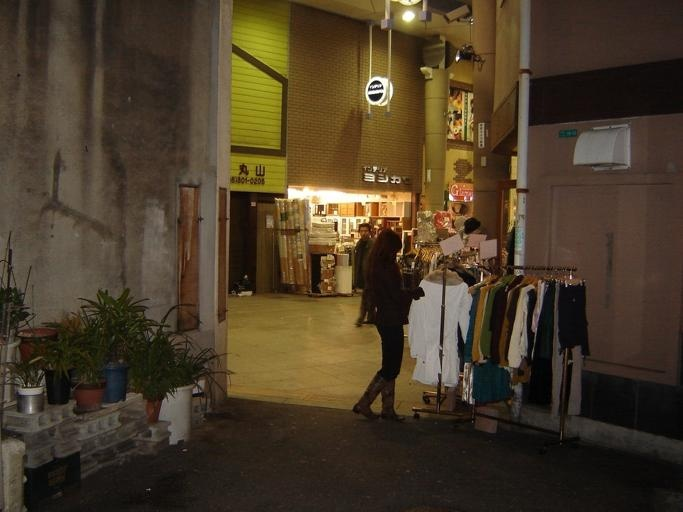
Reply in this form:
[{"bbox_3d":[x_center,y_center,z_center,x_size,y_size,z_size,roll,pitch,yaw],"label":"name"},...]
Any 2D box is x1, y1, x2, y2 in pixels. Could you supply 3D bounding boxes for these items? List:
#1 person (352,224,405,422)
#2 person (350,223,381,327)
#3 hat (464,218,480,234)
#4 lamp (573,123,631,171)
[{"bbox_3d":[0.560,0.740,6.722,0.834,1.999,0.621,3,-4,-27],"label":"person"},{"bbox_3d":[0.621,0.429,15.279,0.641,2.420,0.729,-2,3,11],"label":"person"},{"bbox_3d":[1.909,-0.439,8.951,0.229,0.248,0.403,-1,1,11],"label":"hat"},{"bbox_3d":[2.640,-1.095,6.190,0.349,0.455,0.474,-7,6,-44],"label":"lamp"}]
